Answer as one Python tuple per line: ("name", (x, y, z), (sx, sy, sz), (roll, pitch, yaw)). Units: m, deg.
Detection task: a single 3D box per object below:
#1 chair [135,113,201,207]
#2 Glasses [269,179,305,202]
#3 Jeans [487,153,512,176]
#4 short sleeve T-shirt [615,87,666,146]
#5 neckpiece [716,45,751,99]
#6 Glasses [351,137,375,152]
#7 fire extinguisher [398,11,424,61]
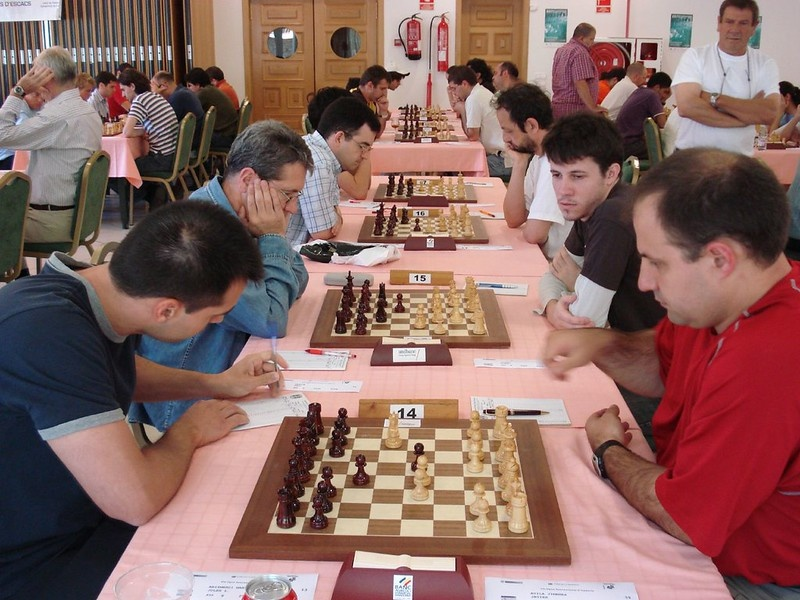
("chair", (-2.459, -1.392, 5.815), (0.704, 1.113, 0.688), (-2, 24, -18))
("Glasses", (-0.382, -0.372, 1.900), (0.078, 0.025, 0.077), (29, 22, 29))
("Jeans", (0.990, -1.338, 5.626), (0.198, 0.109, 0.378), (-6, 47, 2))
("short sleeve T-shirt", (2.725, -2.169, 6.392), (0.437, 0.637, 0.501), (-12, 41, 2))
("neckpiece", (2.148, -1.509, 3.623), (0.240, 0.250, 0.111), (11, 22, 25))
("Glasses", (-0.203, -0.821, 2.935), (0.089, 0.029, 0.084), (31, 19, 29))
("fire extinguisher", (0.180, -4.534, 9.670), (0.415, 0.742, 0.209), (0, 20, -1))
